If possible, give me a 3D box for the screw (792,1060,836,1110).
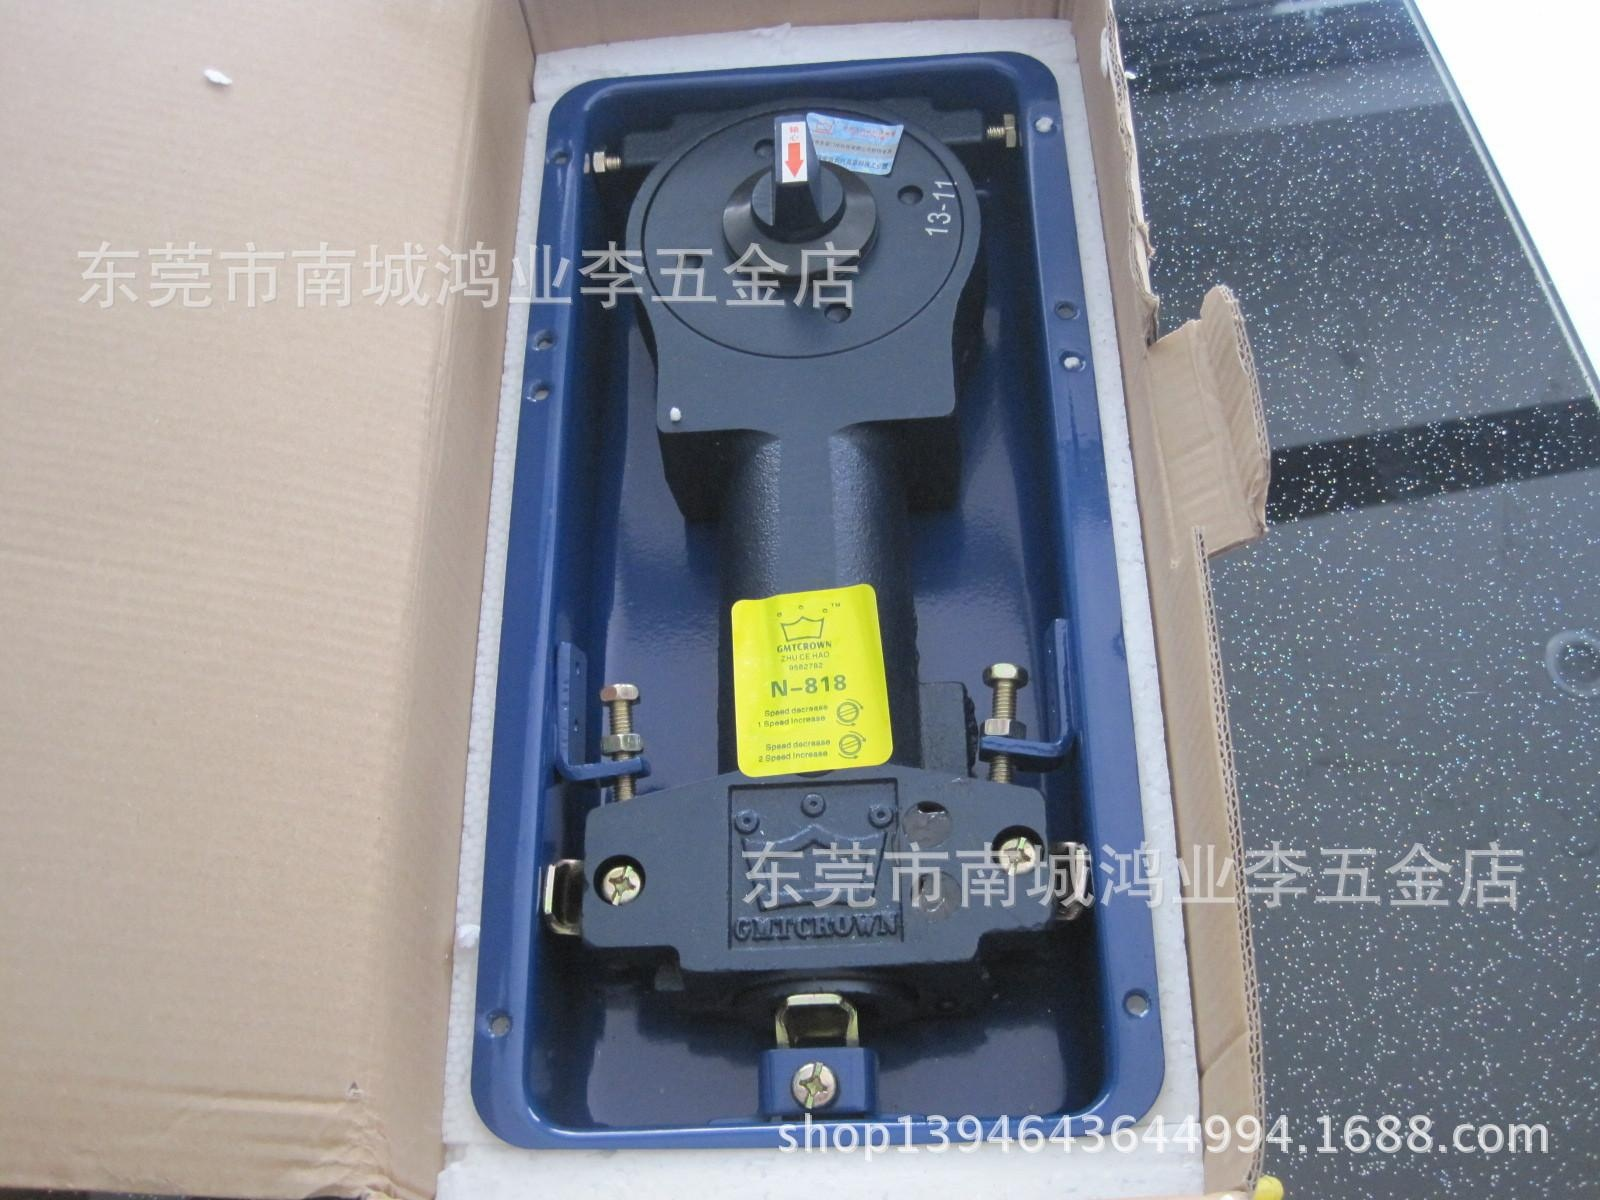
[{"bbox_3d":[0.009,0.334,1.089,0.026,0.008,0.031,8,78,11],"label":"screw"}]

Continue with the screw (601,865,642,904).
[{"bbox_3d":[-0.128,0.202,1.126,0.031,0.011,0.030,-2,75,-2],"label":"screw"}]

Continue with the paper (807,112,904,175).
[{"bbox_3d":[0.045,-0.381,1.312,0.070,0.014,0.054,5,73,2],"label":"paper"}]

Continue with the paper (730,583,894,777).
[{"bbox_3d":[0.007,0.065,1.175,0.129,0.030,0.151,-19,74,-9],"label":"paper"}]
